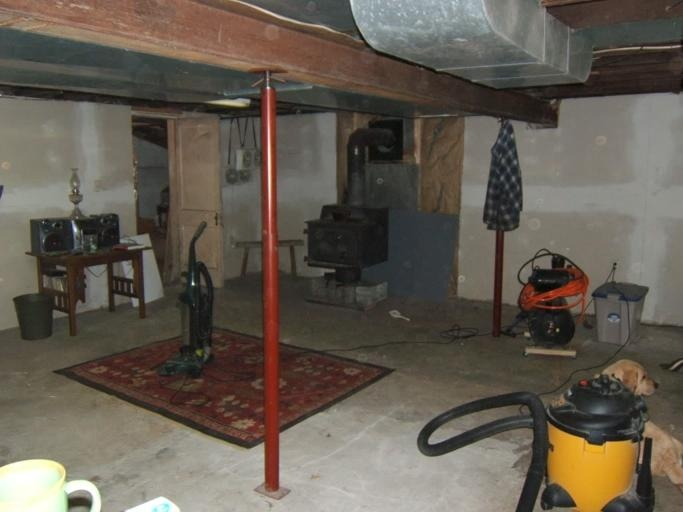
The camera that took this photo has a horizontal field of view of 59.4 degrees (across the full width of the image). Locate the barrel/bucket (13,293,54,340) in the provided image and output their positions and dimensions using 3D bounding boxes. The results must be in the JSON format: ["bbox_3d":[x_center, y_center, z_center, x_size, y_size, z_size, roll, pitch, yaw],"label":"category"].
[{"bbox_3d":[-3.515,0.716,7.184,0.497,0.517,0.483,0,2,0],"label":"barrel/bucket"}]

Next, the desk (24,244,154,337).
[{"bbox_3d":[-3.251,0.409,7.668,1.343,0.954,0.882,-9,-5,5],"label":"desk"}]

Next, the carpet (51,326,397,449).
[{"bbox_3d":[-1.091,1.260,6.454,2.340,0.025,3.068,13,6,21],"label":"carpet"}]

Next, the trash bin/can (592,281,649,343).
[{"bbox_3d":[3.207,0.611,7.150,0.695,0.737,0.761,2,4,38],"label":"trash bin/can"}]
